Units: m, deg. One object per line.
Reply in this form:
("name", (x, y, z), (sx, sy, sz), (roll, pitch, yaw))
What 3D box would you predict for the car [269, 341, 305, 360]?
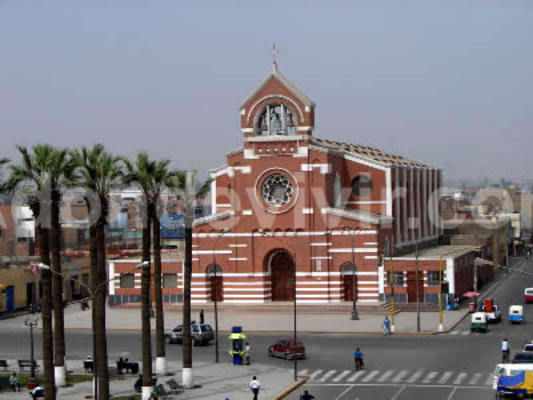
("car", (1.479, 11.910, 83.604), (2.785, 1.129, 1.676), (2, -1, 37))
